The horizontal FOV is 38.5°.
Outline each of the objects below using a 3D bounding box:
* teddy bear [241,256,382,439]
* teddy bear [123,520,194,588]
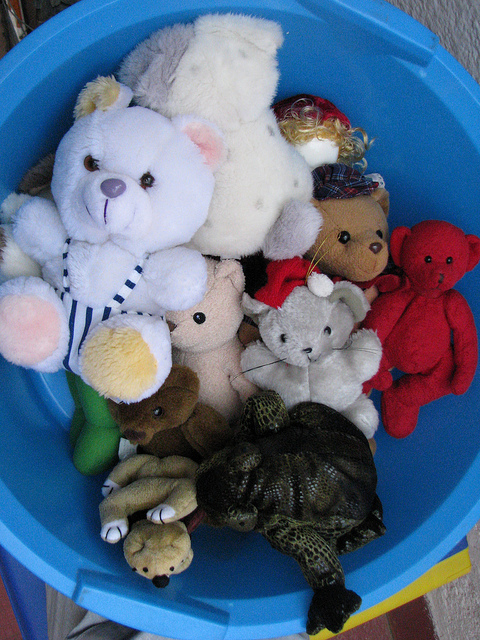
[{"bbox_3d":[0.092,0.036,0.931,0.206,0.233,0.148,-4,31,5],"label":"teddy bear"},{"bbox_3d":[-0.097,0.265,0.789,0.073,0.030,0.073,-2,52,-5],"label":"teddy bear"}]
